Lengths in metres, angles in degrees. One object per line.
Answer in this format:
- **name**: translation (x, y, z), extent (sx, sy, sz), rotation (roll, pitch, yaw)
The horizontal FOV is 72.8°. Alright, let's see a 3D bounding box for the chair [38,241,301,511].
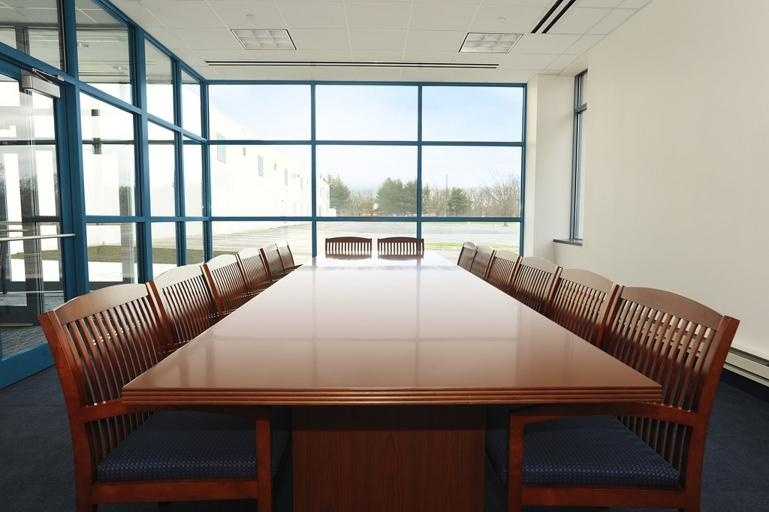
- **chair**: translation (-1.229, 0.694, 2.921), extent (0.749, 0.698, 1.776), rotation (0, 4, -8)
